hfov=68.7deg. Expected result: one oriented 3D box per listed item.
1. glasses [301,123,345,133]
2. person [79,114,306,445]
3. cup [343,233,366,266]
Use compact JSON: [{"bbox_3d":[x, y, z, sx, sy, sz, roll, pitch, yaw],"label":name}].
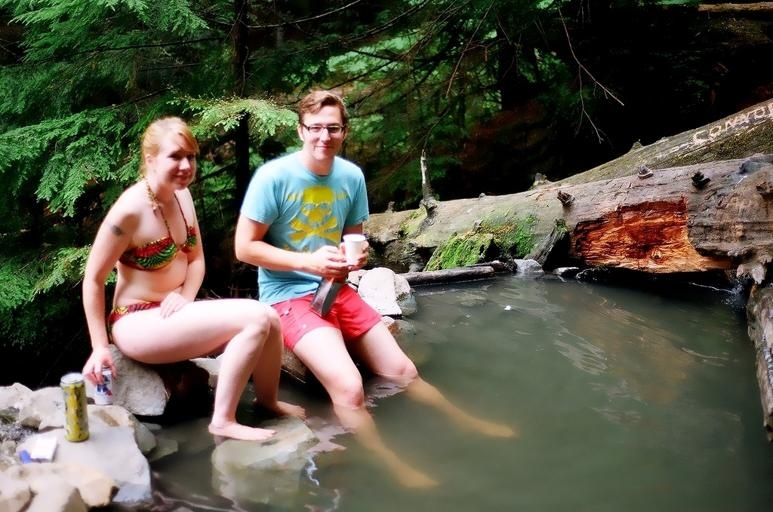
[{"bbox_3d":[-0.528,-1.045,4.614,0.359,0.086,0.139,1,10,-8],"label":"glasses"},{"bbox_3d":[-1.465,0.116,4.228,1.310,2.255,0.580,4,11,10],"label":"person"},{"bbox_3d":[-0.258,-0.069,4.390,0.192,0.225,0.153,2,11,-1],"label":"cup"}]
